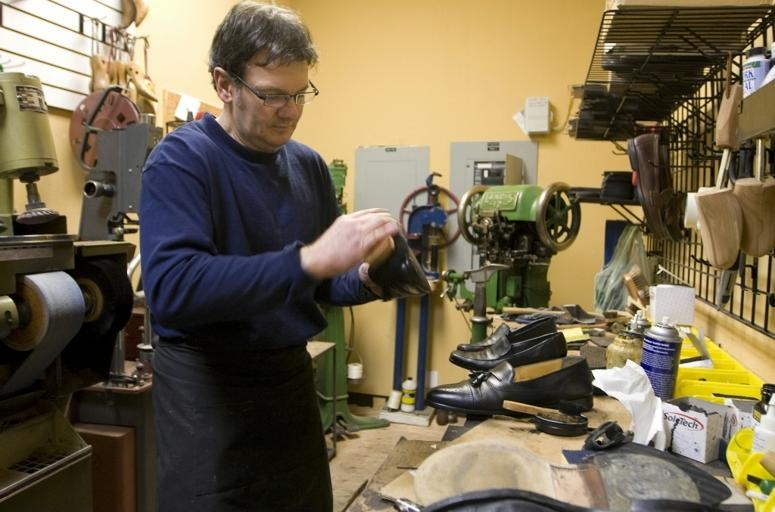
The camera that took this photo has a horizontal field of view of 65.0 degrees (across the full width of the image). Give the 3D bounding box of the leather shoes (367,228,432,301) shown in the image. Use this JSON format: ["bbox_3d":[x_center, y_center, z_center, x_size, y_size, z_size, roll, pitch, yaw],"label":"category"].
[{"bbox_3d":[0.032,0.048,1.985,0.134,0.319,0.111,-11,48,7],"label":"leather shoes"}]

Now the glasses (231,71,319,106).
[{"bbox_3d":[-0.383,-0.526,1.940,0.239,0.102,0.088,-2,8,-22],"label":"glasses"}]

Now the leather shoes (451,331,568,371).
[{"bbox_3d":[0.499,0.385,2.442,0.487,0.150,0.180,-9,-7,23],"label":"leather shoes"}]
